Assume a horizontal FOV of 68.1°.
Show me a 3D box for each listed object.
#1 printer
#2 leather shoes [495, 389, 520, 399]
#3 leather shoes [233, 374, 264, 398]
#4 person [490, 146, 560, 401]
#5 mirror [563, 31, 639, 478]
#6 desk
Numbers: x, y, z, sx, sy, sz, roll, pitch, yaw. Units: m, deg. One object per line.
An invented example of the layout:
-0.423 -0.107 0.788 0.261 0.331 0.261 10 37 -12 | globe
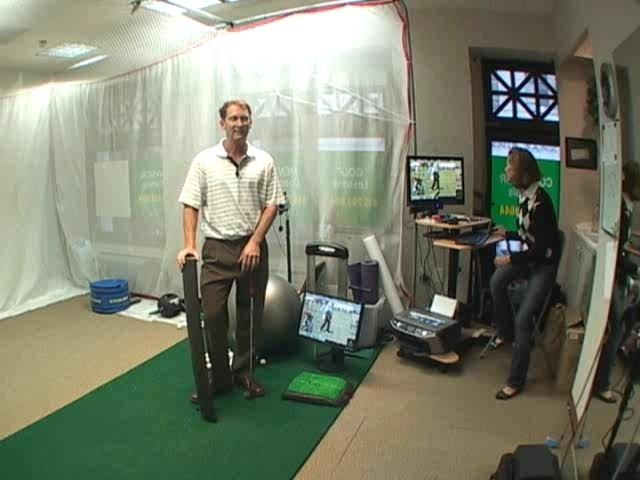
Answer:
0.912 0.738 4.005 0.409 0.391 0.568 0 9 43 | printer
1.419 1.175 3.617 0.153 0.043 0.075 -5 1 -31 | leather shoes
-0.552 1.133 3.711 0.101 0.110 0.256 -7 8 -44 | leather shoes
1.573 0.235 3.718 0.416 1.882 0.566 1 8 9 | person
1.611 0.162 2.747 0.171 2.540 0.526 3 8 22 | mirror
1.133 0.405 4.217 0.615 1.210 1.158 12 14 43 | desk
